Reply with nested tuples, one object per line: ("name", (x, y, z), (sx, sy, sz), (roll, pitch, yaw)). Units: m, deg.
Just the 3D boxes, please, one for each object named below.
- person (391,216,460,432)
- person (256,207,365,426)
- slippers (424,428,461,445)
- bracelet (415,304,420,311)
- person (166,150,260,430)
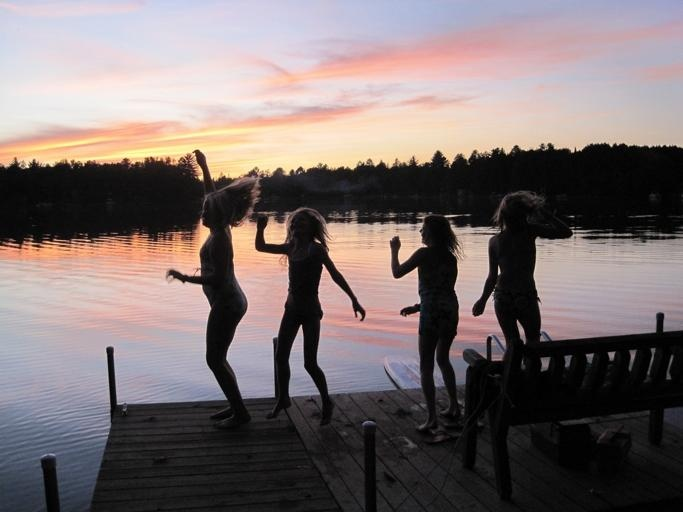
("person", (0.944, 0.720, 6.716), (0.726, 2.317, 0.447), (-1, 7, 1))
("person", (-0.405, 0.676, 6.951), (1.241, 2.419, 0.574), (3, 8, 34))
("slippers", (1.066, 1.886, 6.602), (0.411, 0.082, 0.238), (-4, 6, -29))
("bracelet", (0.832, 0.544, 6.748), (0.059, 0.073, 0.023), (15, 5, 27))
("person", (-1.341, 0.335, 7.065), (0.869, 3.128, 1.253), (-2, 7, -10))
